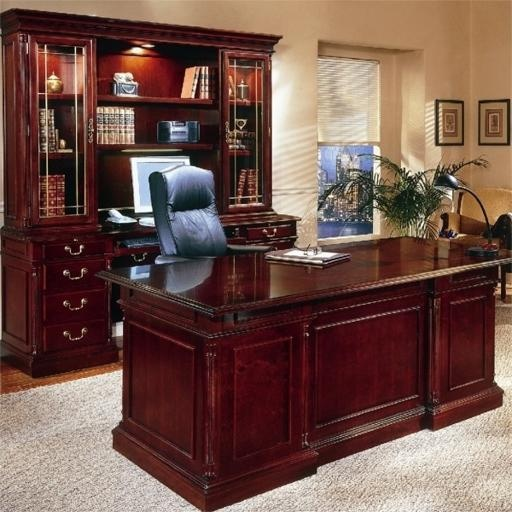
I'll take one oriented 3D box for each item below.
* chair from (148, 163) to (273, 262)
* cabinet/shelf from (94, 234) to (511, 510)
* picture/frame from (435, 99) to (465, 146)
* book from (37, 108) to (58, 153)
[{"bbox_3d":[-0.127,-0.291,3.246,0.744,0.763,0.637,3,11,31],"label":"chair"},{"bbox_3d":[0.287,0.423,2.259,1.594,0.834,0.715,-3,5,-36],"label":"cabinet/shelf"},{"bbox_3d":[2.233,-1.560,5.822,0.676,0.614,0.049,-3,4,-41],"label":"picture/frame"},{"bbox_3d":[-1.315,-0.788,3.177,0.114,0.275,0.020,-4,5,-41],"label":"book"}]
